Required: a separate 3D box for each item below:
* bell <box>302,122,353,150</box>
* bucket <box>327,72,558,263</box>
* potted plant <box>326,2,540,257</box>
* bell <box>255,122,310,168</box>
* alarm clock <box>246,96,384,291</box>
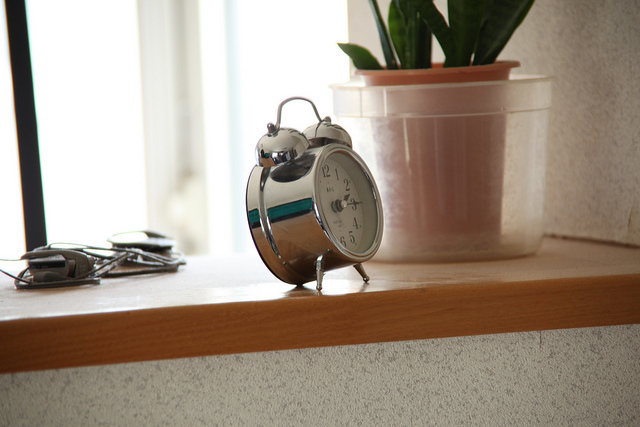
[{"bbox_3d":[0.012,-0.115,0.850,0.059,0.044,0.056,-1,3,21],"label":"bell"},{"bbox_3d":[0.200,-0.091,1.107,0.371,0.301,0.348,-1,7,0],"label":"bucket"},{"bbox_3d":[0.165,-0.142,1.077,0.428,0.435,0.376,-3,5,-9],"label":"potted plant"},{"bbox_3d":[-0.064,-0.110,0.845,0.092,0.061,0.091,-23,15,-10],"label":"bell"},{"bbox_3d":[0.002,-0.043,0.878,0.184,0.257,0.263,2,10,12],"label":"alarm clock"}]
